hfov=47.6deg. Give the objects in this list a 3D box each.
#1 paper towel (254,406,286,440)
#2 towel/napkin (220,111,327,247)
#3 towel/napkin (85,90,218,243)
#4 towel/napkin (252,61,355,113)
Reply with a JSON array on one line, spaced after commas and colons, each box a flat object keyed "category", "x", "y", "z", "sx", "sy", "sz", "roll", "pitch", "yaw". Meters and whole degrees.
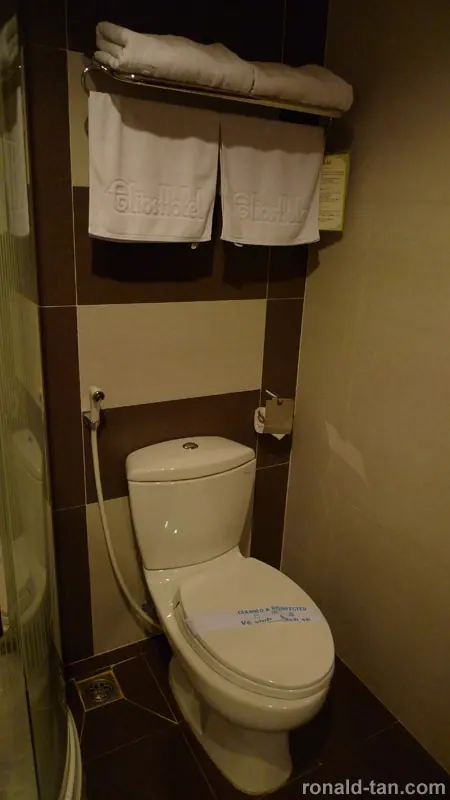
[{"category": "paper towel", "x": 0.134, "y": 0.060, "z": 1.741, "sx": 0.105, "sy": 0.101, "sz": 0.040, "roll": 3, "pitch": 15, "yaw": 1}, {"category": "towel/napkin", "x": 0.118, "y": -0.579, "z": 1.327, "sx": 0.287, "sy": 0.322, "sz": 0.038, "roll": -9, "pitch": 25, "yaw": -28}, {"category": "towel/napkin", "x": -0.175, "y": -0.533, "z": 1.150, "sx": 0.276, "sy": 0.308, "sz": 0.035, "roll": -8, "pitch": 22, "yaw": -31}, {"category": "towel/napkin", "x": 0.174, "y": -0.751, "z": 1.202, "sx": 0.295, "sy": 0.114, "sz": 0.081, "roll": -7, "pitch": 16, "yaw": -31}]
